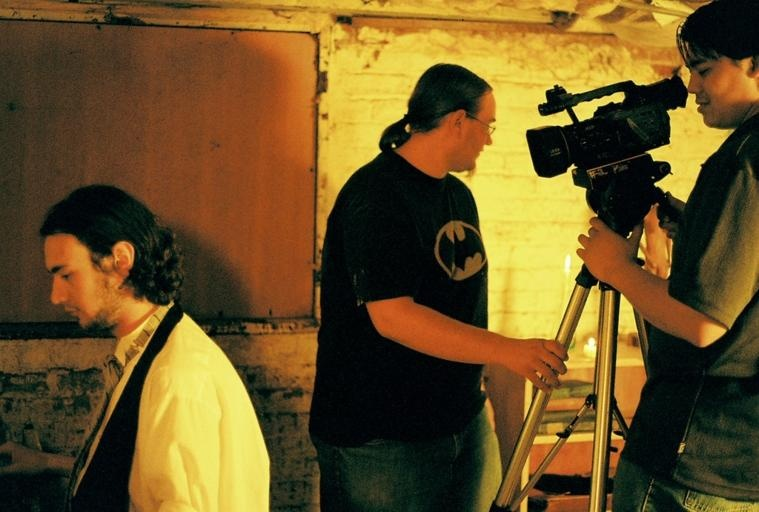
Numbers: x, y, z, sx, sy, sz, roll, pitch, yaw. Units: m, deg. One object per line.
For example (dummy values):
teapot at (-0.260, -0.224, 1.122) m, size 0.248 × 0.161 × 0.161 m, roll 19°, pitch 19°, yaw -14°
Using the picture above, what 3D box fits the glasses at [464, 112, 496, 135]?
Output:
glasses at (0.450, -0.589, 4.847) m, size 0.102 × 0.030 × 0.099 m, roll 37°, pitch 2°, yaw 6°
